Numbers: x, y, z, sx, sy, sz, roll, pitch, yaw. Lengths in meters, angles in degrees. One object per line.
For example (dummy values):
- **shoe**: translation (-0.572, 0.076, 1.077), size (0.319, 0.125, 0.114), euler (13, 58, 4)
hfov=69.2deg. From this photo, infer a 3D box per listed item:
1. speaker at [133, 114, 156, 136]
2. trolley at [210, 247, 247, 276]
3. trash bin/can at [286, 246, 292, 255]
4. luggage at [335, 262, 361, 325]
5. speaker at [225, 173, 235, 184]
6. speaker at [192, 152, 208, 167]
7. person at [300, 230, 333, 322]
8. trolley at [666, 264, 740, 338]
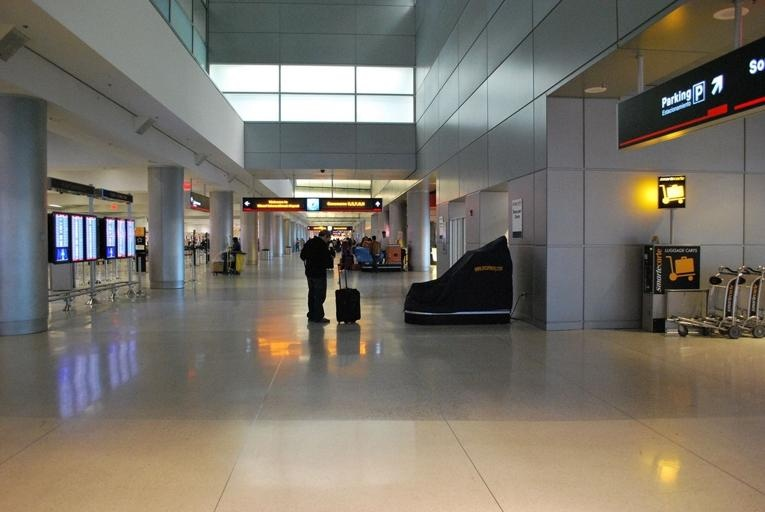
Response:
- **speaker**: translation (-6.027, -3.303, 13.985), size (0.185, 0.340, 0.363), euler (32, 0, 32)
- **trolley**: translation (-6.796, 0.347, 24.292), size (1.154, 0.861, 0.985), euler (2, -2, -6)
- **trash bin/can**: translation (-9.766, -0.521, 57.530), size (0.713, 1.023, 1.019), euler (0, -1, -8)
- **luggage**: translation (-0.752, 0.817, 11.369), size (0.474, 1.086, 0.382), euler (-7, 0, -8)
- **speaker**: translation (-6.378, -3.226, 23.090), size (0.218, 0.212, 0.780), euler (15, -3, -6)
- **speaker**: translation (-6.061, -3.182, 18.486), size (0.385, 0.371, 0.105), euler (2, -3, 8)
- **person**: translation (-1.381, 0.487, 11.733), size (0.611, 2.022, 1.468), euler (-2, 15, -7)
- **trolley**: translation (5.944, 0.853, 10.141), size (1.194, 1.286, 0.835), euler (1, -3, -3)
